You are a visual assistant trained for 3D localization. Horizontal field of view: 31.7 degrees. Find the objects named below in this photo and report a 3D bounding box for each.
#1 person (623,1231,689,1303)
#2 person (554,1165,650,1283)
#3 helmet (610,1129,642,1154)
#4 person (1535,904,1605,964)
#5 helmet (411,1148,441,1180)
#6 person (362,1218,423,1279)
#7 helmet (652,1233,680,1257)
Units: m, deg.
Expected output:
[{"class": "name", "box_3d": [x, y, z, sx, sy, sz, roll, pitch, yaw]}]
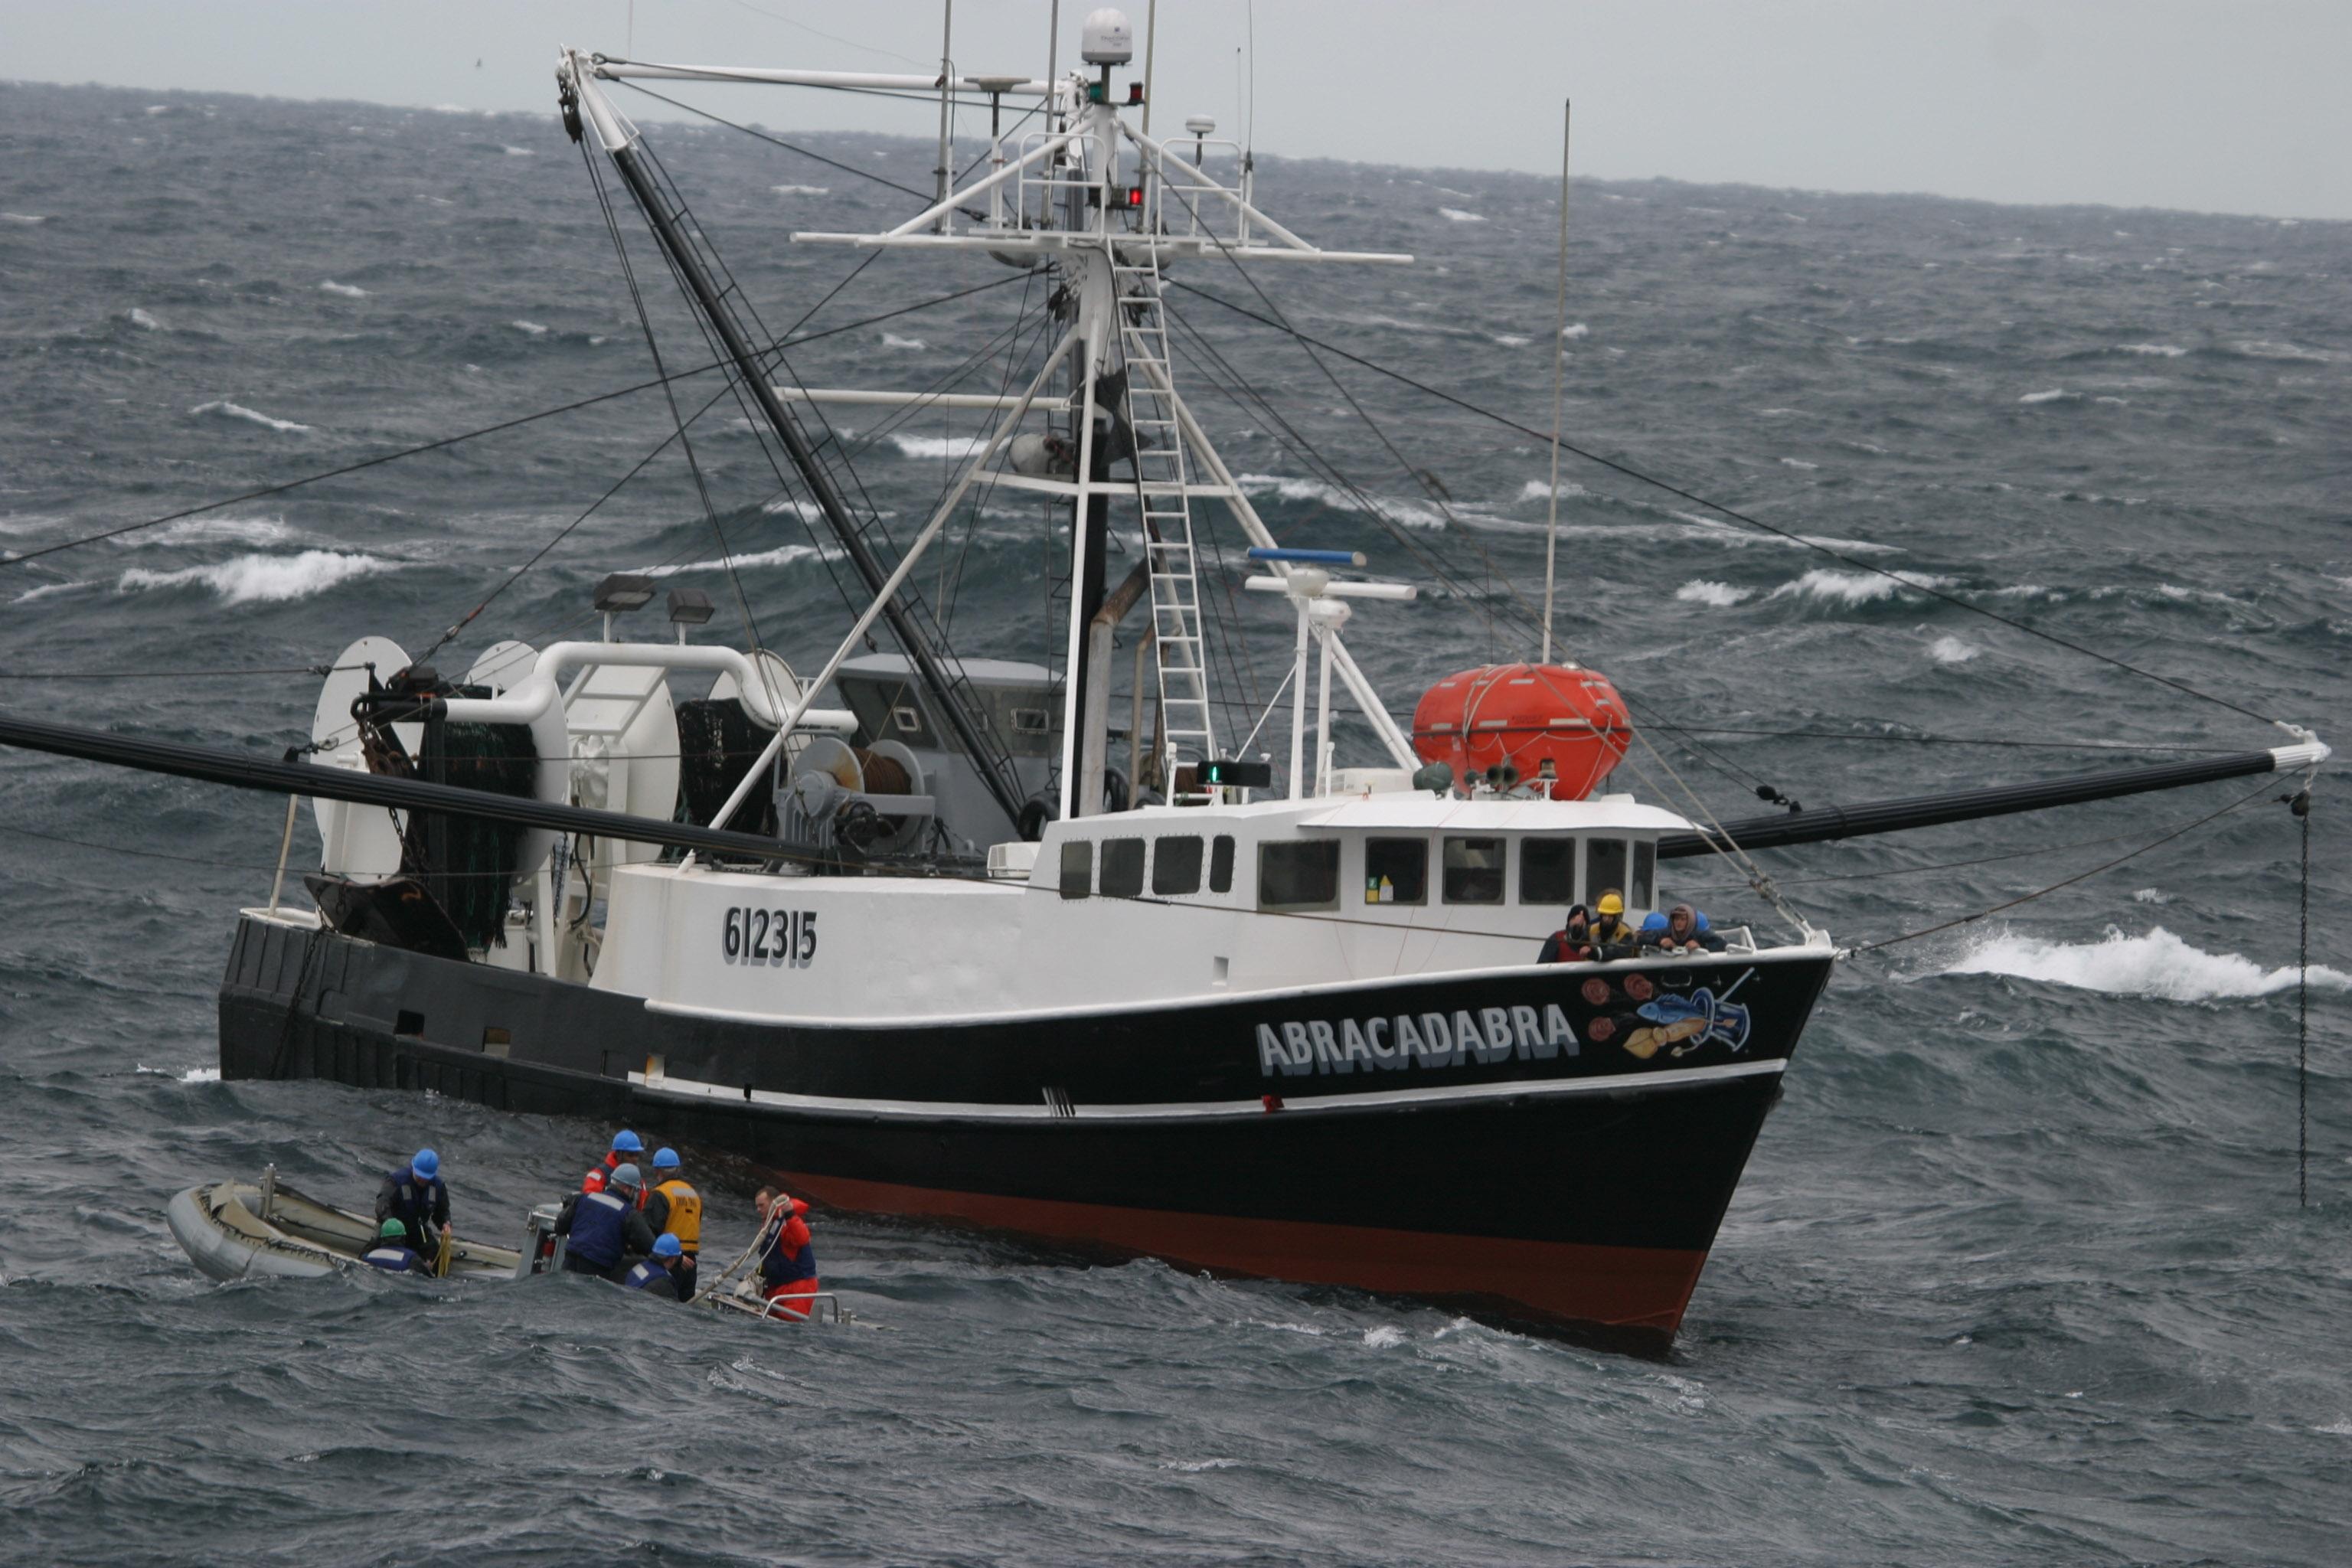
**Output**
[{"class": "person", "box_3d": [-7.990, 7.506, 64.755, 1.017, 1.007, 0.381, 3, 4, -16]}, {"class": "person", "box_3d": [-8.959, 6.849, 64.945, 1.429, 1.721, 0.785, 4, 3, -8]}, {"class": "helmet", "box_3d": [-8.606, 5.663, 65.277, 0.490, 0.266, 0.598, 1, 3, -14]}, {"class": "person", "box_3d": [6.352, 2.408, 65.707, 0.795, 0.892, 2.051, 4, -1, -35]}, {"class": "helmet", "box_3d": [-11.690, 5.955, 65.068, 0.490, 0.416, 0.578, 3, 14, -18]}, {"class": "person", "box_3d": [-12.146, 7.195, 64.633, 0.984, 0.797, 0.692, 4, 3, -1]}, {"class": "helmet", "box_3d": [-7.917, 7.202, 64.904, 0.446, 0.364, 0.275, -10, 42, -12]}]
